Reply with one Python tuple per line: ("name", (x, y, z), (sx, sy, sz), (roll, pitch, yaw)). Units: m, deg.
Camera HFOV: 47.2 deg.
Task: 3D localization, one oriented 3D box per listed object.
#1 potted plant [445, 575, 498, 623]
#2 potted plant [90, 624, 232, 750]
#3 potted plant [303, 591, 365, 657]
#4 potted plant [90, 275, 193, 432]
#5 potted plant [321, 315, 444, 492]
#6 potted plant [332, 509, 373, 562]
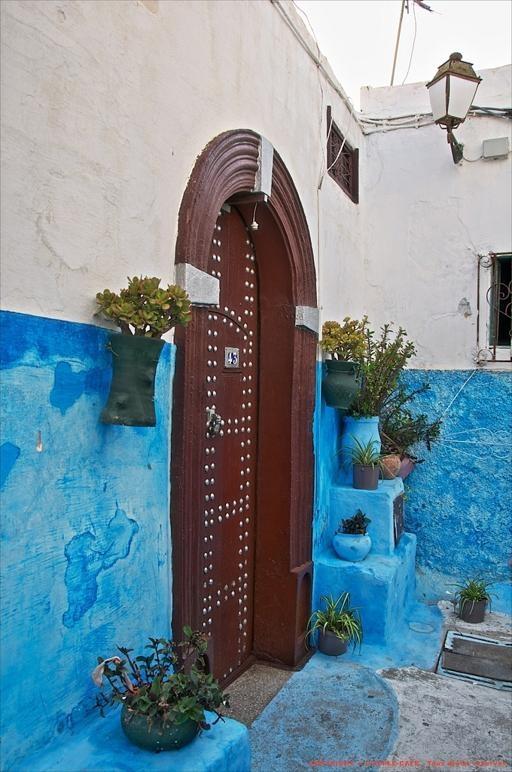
("potted plant", (1.713, 1.688, 4.778), (0.310, 0.339, 0.336), (1, -5, 25))
("potted plant", (-0.330, 0.938, 1.974), (0.343, 0.347, 0.448), (13, -20, -22))
("potted plant", (0.496, 1.590, 3.882), (0.330, 0.354, 0.327), (10, -22, -16))
("potted plant", (-0.378, -0.105, 1.967), (0.299, 0.482, 0.240), (7, -10, -10))
("potted plant", (1.082, 0.080, 4.946), (0.631, 1.469, 2.036), (2, -2, 27))
("potted plant", (0.687, 1.074, 4.247), (0.244, 0.383, 0.266), (2, -5, 5))
